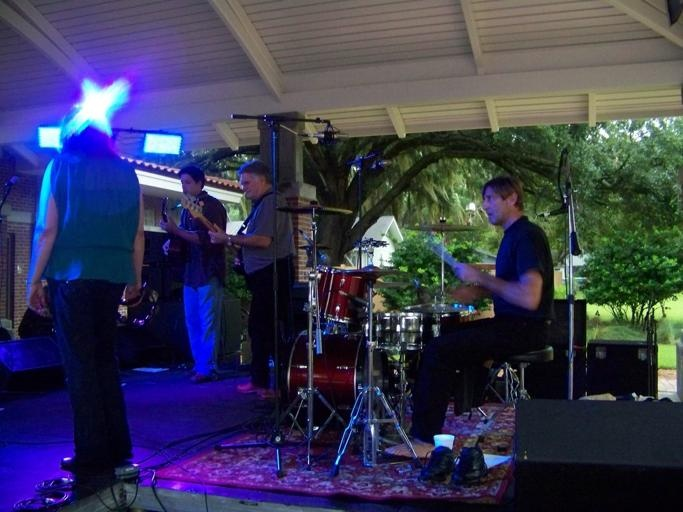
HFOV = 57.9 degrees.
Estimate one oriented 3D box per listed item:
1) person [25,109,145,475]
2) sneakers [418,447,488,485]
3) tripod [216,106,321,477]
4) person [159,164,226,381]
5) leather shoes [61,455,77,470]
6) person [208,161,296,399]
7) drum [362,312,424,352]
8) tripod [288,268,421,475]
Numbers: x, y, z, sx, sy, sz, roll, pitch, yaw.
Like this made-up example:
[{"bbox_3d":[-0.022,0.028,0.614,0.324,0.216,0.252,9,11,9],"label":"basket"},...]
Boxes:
[{"bbox_3d":[-1.775,0.287,4.279,0.685,2.396,0.366,-1,2,-4],"label":"person"},{"bbox_3d":[0.783,1.439,4.274,0.463,0.225,0.209,0,3,9],"label":"sneakers"},{"bbox_3d":[-0.752,0.302,6.335,0.468,3.575,1.636,1,-3,-13],"label":"tripod"},{"bbox_3d":[-1.681,0.211,6.877,0.764,2.450,0.836,0,2,-23],"label":"person"},{"bbox_3d":[-1.920,1.458,4.325,0.092,0.062,0.124,8,-7,-24],"label":"leather shoes"},{"bbox_3d":[-0.836,0.206,6.011,0.733,2.265,0.821,0,0,2],"label":"person"},{"bbox_3d":[0.406,0.549,4.797,0.320,0.332,0.368,3,2,22],"label":"drum"},{"bbox_3d":[0.116,0.892,4.764,0.738,1.613,0.863,5,3,2],"label":"tripod"}]
